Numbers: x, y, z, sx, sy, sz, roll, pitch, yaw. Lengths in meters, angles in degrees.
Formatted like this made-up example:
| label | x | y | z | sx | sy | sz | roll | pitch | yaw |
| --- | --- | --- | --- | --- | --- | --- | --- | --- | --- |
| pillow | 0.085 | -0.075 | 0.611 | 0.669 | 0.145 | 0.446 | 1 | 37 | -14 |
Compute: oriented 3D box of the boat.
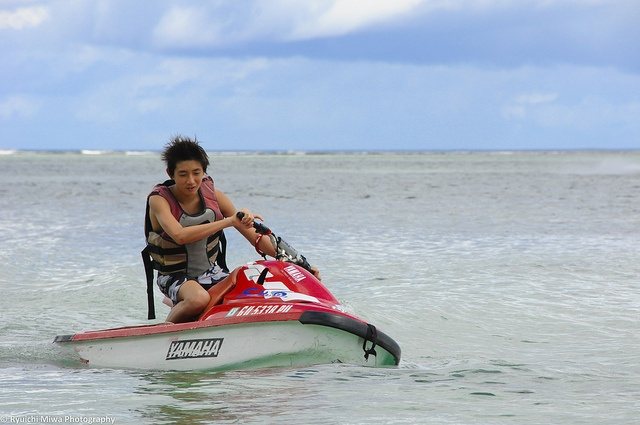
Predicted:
| label | x | y | z | sx | sy | sz | roll | pitch | yaw |
| --- | --- | --- | --- | --- | --- | --- | --- | --- | --- |
| boat | -1.061 | 1.403 | 13.310 | 4.671 | 1.406 | 1.824 | -3 | -5 | 13 |
